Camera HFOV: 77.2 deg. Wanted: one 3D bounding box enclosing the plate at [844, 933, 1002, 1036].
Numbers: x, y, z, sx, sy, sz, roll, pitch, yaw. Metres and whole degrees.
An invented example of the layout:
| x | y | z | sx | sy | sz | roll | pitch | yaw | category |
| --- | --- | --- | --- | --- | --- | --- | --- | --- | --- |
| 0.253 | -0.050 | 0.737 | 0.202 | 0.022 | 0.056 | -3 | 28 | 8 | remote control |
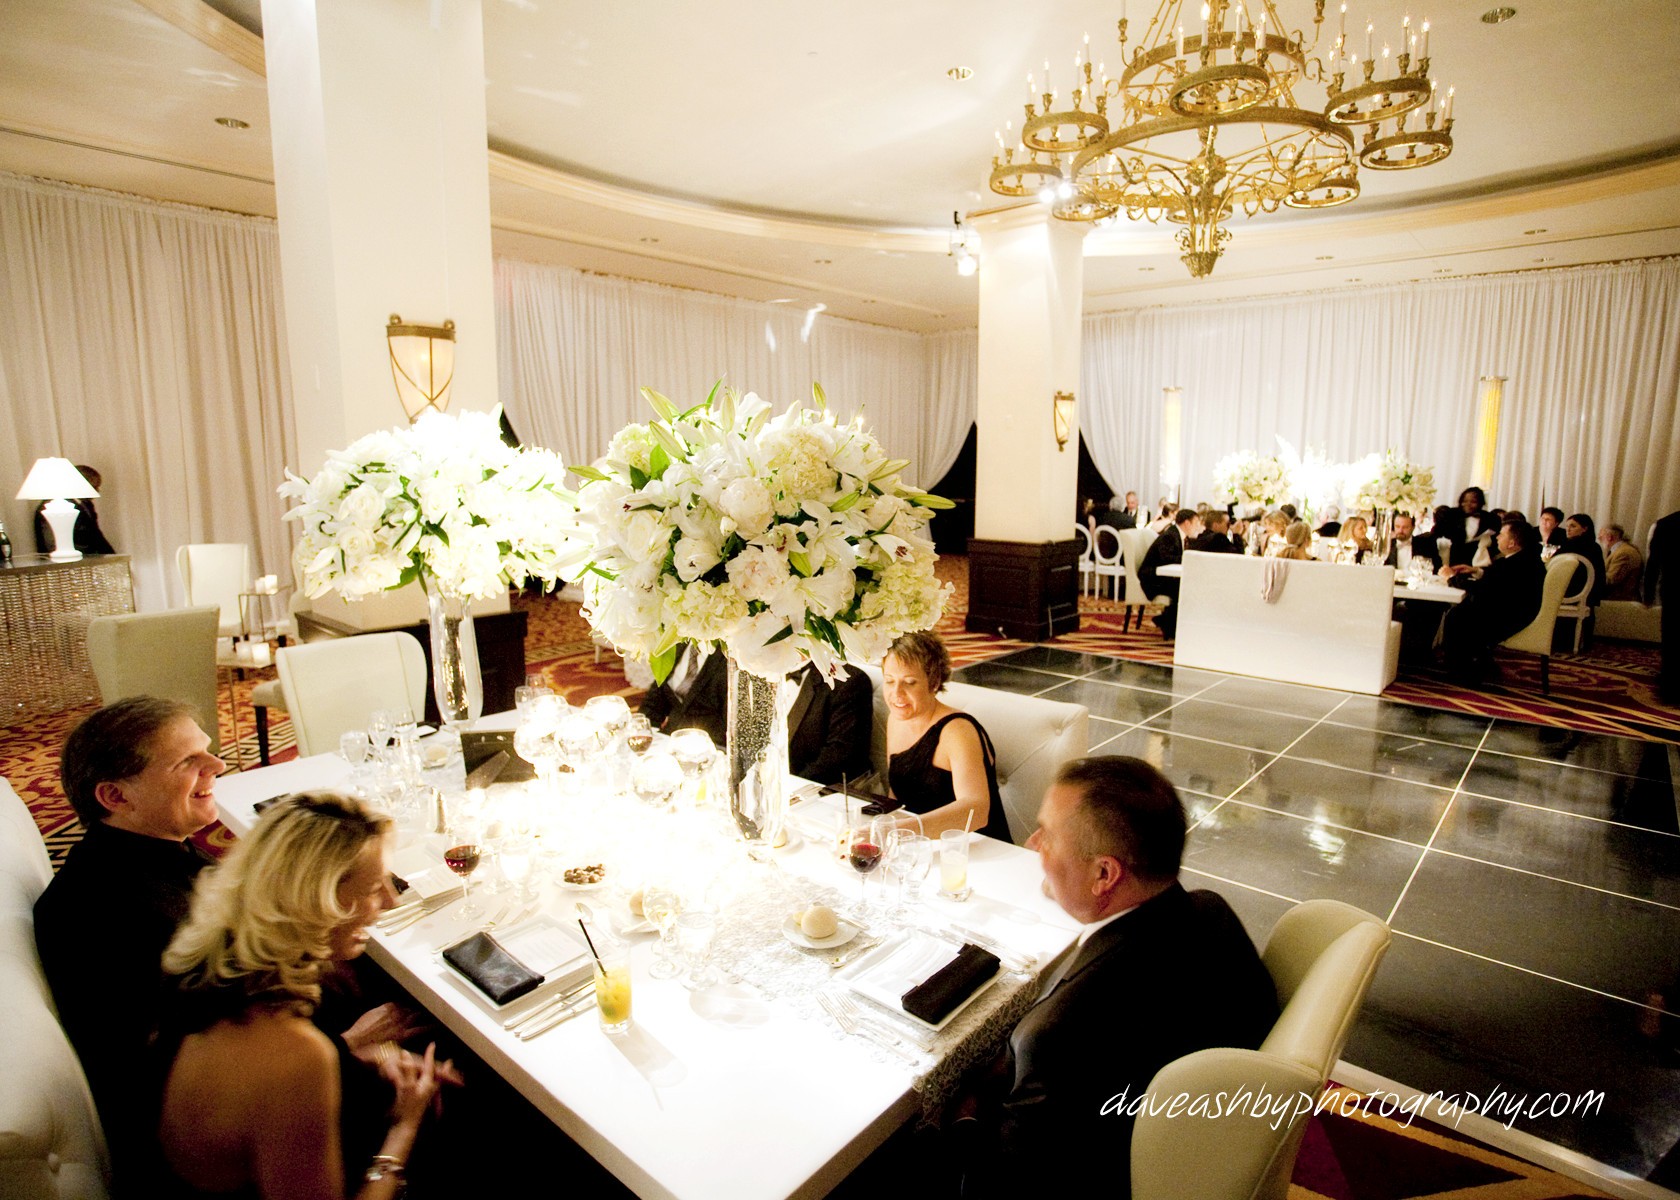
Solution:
| x | y | z | sx | sy | sz | roll | pitch | yaw | category |
| --- | --- | --- | --- | --- | --- | --- | --- | --- | --- |
| 0.220 | 1.055 | 3.006 | 0.265 | 0.065 | 0.255 | -14 | 17 | -38 | plate |

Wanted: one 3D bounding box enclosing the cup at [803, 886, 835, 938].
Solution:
| x | y | z | sx | sy | sz | roll | pitch | yaw | category |
| --- | --- | --- | --- | --- | --- | --- | --- | --- | --- |
| -0.061 | 0.951 | 3.222 | 0.111 | 0.088 | 0.201 | -2 | 9 | -3 | cup |

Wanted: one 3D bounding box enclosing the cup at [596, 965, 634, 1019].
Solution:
| x | y | z | sx | sy | sz | roll | pitch | yaw | category |
| --- | --- | --- | --- | --- | --- | --- | --- | --- | --- |
| -0.632 | 1.092 | 2.940 | 0.099 | 0.153 | 0.094 | -1 | 10 | 0 | cup |

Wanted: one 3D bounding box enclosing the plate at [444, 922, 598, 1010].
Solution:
| x | y | z | sx | sy | sz | roll | pitch | yaw | category |
| --- | --- | --- | --- | --- | --- | --- | --- | --- | --- |
| -0.927 | 1.044 | 3.072 | 0.237 | 0.062 | 0.237 | -12 | 22 | -42 | plate |

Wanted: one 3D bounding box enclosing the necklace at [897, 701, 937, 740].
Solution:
| x | y | z | sx | sy | sz | roll | pitch | yaw | category |
| --- | --- | --- | --- | --- | --- | --- | --- | --- | --- |
| 0.297 | 0.469 | 4.081 | 0.109 | 0.166 | 0.163 | -2 | 4 | 0 | necklace |

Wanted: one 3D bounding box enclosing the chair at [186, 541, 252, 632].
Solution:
| x | y | z | sx | sy | sz | roll | pitch | yaw | category |
| --- | --- | --- | --- | --- | --- | --- | --- | --- | --- |
| -4.280 | -0.095 | 7.226 | 0.456 | 0.615 | 0.429 | 29 | 23 | 37 | chair |

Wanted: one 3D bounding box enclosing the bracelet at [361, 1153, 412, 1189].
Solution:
| x | y | z | sx | sy | sz | roll | pitch | yaw | category |
| --- | --- | --- | --- | --- | --- | --- | --- | --- | --- |
| -1.289 | 1.614 | 2.979 | 0.090 | 0.080 | 0.074 | -13 | 19 | -43 | bracelet |

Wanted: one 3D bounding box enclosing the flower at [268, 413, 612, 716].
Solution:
| x | y | z | sx | sy | sz | roll | pitch | yaw | category |
| --- | --- | --- | --- | --- | --- | --- | --- | --- | --- |
| -1.399 | -0.091 | 3.724 | 1.008 | 1.130 | 0.355 | -2 | 10 | -2 | flower |

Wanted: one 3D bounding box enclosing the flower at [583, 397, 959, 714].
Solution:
| x | y | z | sx | sy | sz | roll | pitch | yaw | category |
| --- | --- | --- | --- | --- | --- | --- | --- | --- | --- |
| -0.216 | -0.273 | 3.252 | 0.895 | 0.800 | 0.860 | 6 | 15 | 15 | flower |

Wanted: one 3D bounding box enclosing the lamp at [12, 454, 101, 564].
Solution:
| x | y | z | sx | sy | sz | roll | pitch | yaw | category |
| --- | --- | --- | --- | --- | --- | --- | --- | --- | --- |
| -5.459 | -0.653 | 7.359 | 0.380 | 0.684 | 0.952 | -9 | 12 | -35 | lamp |
